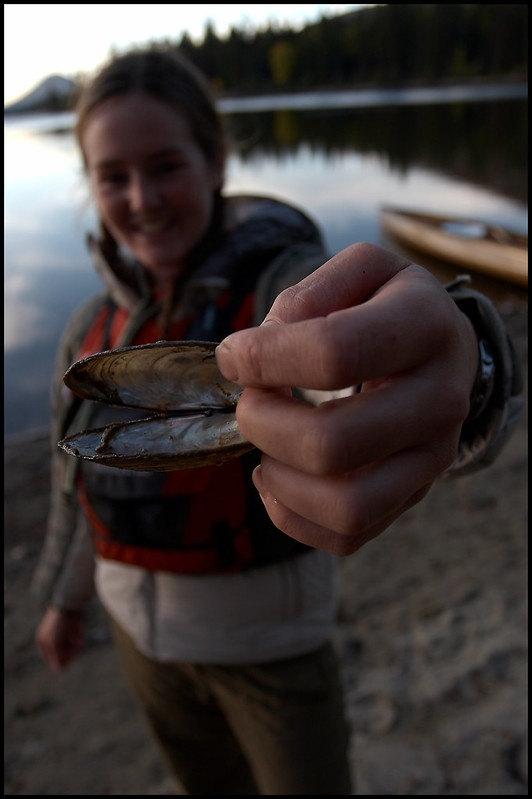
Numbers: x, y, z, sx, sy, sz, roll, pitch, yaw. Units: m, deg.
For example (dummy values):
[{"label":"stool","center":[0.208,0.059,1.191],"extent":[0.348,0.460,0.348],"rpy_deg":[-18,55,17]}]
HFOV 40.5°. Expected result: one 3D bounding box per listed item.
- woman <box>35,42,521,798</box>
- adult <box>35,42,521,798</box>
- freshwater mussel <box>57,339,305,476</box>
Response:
[{"label":"woman","center":[-0.050,0.067,0.886],"extent":[0.600,0.913,0.393],"rpy_deg":[11,29,27]},{"label":"adult","center":[-0.050,0.067,0.886],"extent":[0.599,0.913,0.393],"rpy_deg":[11,29,27]},{"label":"freshwater mussel","center":[-0.080,0.006,0.715],"extent":[0.205,0.061,0.122],"rpy_deg":[-4,66,6]}]
